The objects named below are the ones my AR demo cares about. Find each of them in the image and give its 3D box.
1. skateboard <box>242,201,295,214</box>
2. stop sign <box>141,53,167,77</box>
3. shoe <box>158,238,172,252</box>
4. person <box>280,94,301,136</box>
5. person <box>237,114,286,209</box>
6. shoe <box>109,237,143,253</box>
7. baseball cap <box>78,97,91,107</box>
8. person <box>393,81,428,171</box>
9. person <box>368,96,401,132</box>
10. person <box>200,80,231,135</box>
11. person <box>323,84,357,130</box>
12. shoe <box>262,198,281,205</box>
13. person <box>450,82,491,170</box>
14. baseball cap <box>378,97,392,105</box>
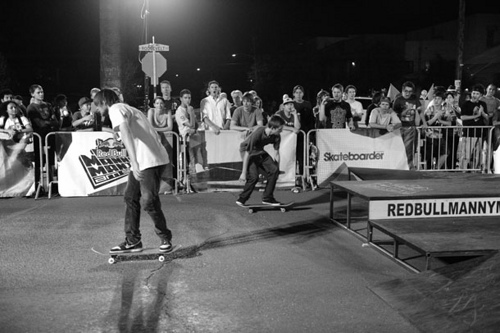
[{"bbox_3d":[0.425,0.911,10.643,1.295,0.303,0.430,0,6,-5],"label":"skateboard"},{"bbox_3d":[-3.597,-3.798,17.689,1.165,0.159,1.408,-32,2,-13],"label":"stop sign"},{"bbox_3d":[-1.444,1.327,8.035,0.120,0.174,0.359,0,-9,0],"label":"shoe"},{"bbox_3d":[1.127,-1.411,13.073,0.574,0.872,1.942,1,14,4],"label":"person"},{"bbox_3d":[0.280,-0.239,10.753,0.886,2.170,0.991,3,25,-7],"label":"person"},{"bbox_3d":[-2.097,1.350,8.089,0.590,0.318,0.232,5,-6,-15],"label":"shoe"},{"bbox_3d":[-4.585,-1.789,12.907,0.266,0.113,0.237,-11,2,45],"label":"baseball cap"},{"bbox_3d":[4.573,-1.226,13.491,0.959,2.324,1.402,3,12,17],"label":"person"},{"bbox_3d":[3.722,-1.470,13.124,0.678,1.112,1.029,-3,23,5],"label":"person"},{"bbox_3d":[-0.956,-1.626,13.109,0.841,1.464,2.001,-2,13,-6],"label":"person"},{"bbox_3d":[2.448,-1.661,13.031,0.824,1.173,0.687,2,12,10],"label":"person"},{"bbox_3d":[0.475,0.769,10.693,0.379,0.193,0.157,0,-2,2],"label":"shoe"},{"bbox_3d":[6.415,-1.166,13.533,0.948,2.310,1.451,6,13,28],"label":"person"},{"bbox_3d":[3.799,-1.873,13.345,0.294,0.209,0.417,-2,3,-1],"label":"baseball cap"}]
